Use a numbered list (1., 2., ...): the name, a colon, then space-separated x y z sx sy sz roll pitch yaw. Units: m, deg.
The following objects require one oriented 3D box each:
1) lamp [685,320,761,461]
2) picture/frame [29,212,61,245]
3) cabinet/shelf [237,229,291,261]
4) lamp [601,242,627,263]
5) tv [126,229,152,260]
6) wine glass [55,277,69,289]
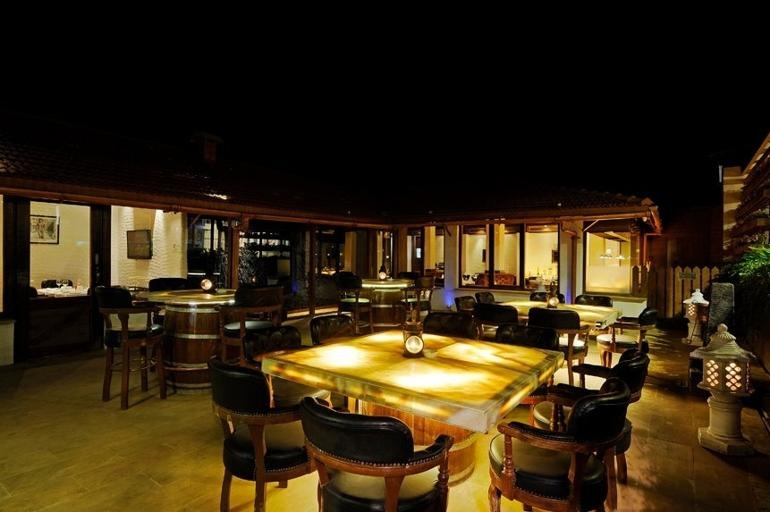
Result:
1. lamp: 5.106 2.007 7.765 0.735 2.198 0.398 -2 -1 33
2. picture/frame: -7.768 -0.659 11.714 0.796 0.757 0.052 6 1 -41
3. cabinet/shelf: -3.741 -0.364 16.212 1.542 0.718 0.523 -1 -1 -15
4. lamp: 8.066 -0.149 18.121 0.692 0.662 0.378 2 5 14
5. tv: -6.288 -0.331 13.208 0.757 0.812 0.109 2 5 23
6. wine glass: -7.243 0.592 11.470 0.261 0.256 0.257 1 -1 -14
